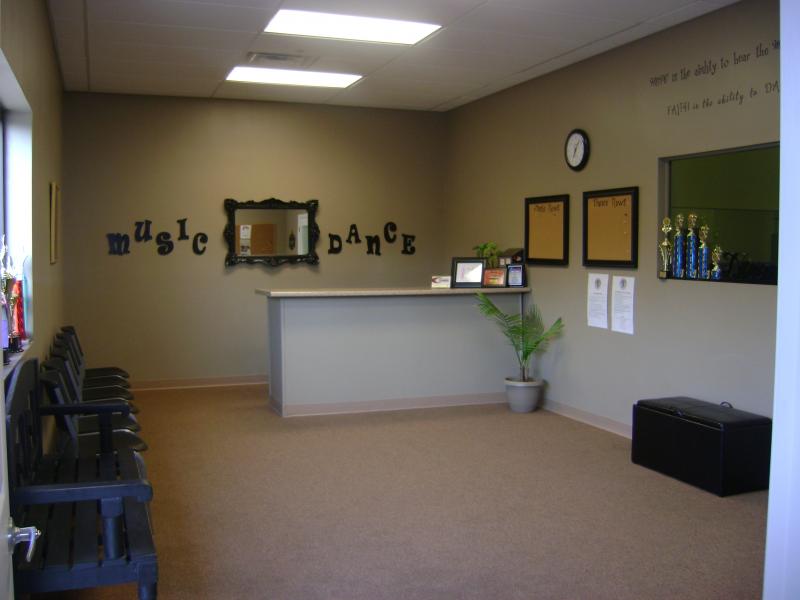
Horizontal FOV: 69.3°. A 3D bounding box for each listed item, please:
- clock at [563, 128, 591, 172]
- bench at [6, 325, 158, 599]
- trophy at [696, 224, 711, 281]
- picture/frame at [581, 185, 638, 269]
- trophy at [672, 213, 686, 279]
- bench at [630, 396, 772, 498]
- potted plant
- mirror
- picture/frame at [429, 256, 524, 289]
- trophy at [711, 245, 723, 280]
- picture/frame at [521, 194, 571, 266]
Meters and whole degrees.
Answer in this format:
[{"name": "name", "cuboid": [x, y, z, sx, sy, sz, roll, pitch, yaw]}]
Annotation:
[{"name": "clock", "cuboid": [1.726, -1.447, 5.650, 0.042, 0.411, 0.324, -2, 5, -26]}, {"name": "bench", "cuboid": [-1.552, 0.770, 2.827, 0.301, 0.498, 1.138, -1, 11, -17]}, {"name": "trophy", "cuboid": [2.412, -0.370, 4.588, 0.079, 0.426, 0.146, 2, 4, 25]}, {"name": "picture/frame", "cuboid": [1.936, -0.667, 5.296, 0.060, 0.883, 0.710, 0, 2, -26]}, {"name": "trophy", "cuboid": [2.312, -0.441, 4.783, 0.092, 0.527, 0.134, 2, 4, 27]}, {"name": "bench", "cuboid": [2.233, 1.074, 4.348, 0.435, 0.547, 0.850, 0, 1, -17]}, {"name": "potted plant", "cuboid": [1.277, 0.541, 6.159, 0.847, 1.225, 0.518, 1, 4, 9]}, {"name": "mirror", "cuboid": [-1.681, -0.870, 7.305, 0.765, 0.684, 0.041, -1, 2, -19]}, {"name": "picture/frame", "cuboid": [0.881, -0.298, 6.385, 1.030, 0.319, 0.371, 0, 5, 2]}, {"name": "trophy", "cuboid": [2.474, -0.282, 4.518, 0.083, 0.264, 0.161, 2, 5, 31]}, {"name": "picture/frame", "cuboid": [1.537, -0.710, 6.055, 0.045, 0.705, 0.549, -7, 10, -39]}]
